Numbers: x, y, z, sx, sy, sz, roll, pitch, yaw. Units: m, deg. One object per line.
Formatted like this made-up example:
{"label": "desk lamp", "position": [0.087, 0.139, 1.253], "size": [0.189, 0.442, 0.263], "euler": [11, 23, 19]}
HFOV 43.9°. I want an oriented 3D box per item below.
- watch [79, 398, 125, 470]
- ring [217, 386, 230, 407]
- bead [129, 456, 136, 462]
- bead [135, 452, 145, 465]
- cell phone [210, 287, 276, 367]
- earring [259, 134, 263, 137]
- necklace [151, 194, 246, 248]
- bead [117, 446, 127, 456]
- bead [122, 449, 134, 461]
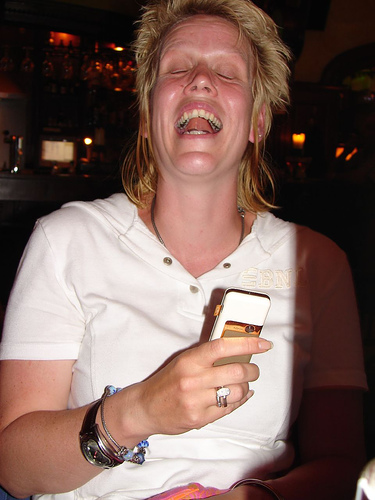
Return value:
{"label": "watch", "position": [-0.178, 0.365, 0.917], "size": [0.075, 0.112, 0.092], "euler": [-10, 31, -28]}
{"label": "ring", "position": [0.061, 0.254, 0.804], "size": [0.017, 0.044, 0.021], "euler": [20, 31, 24]}
{"label": "bead", "position": [-0.111, 0.424, 0.945], "size": [0.008, 0.010, 0.004], "euler": [3, 21, -26]}
{"label": "bead", "position": [-0.098, 0.430, 0.961], "size": [0.019, 0.010, 0.023], "euler": [-11, 70, -52]}
{"label": "cell phone", "position": [0.087, 0.157, 0.844], "size": [0.094, 0.166, 0.019], "euler": [10, 25, -5]}
{"label": "earring", "position": [0.233, -0.367, 1.490], "size": [0.005, 0.008, 0.020], "euler": [26, 32, 33]}
{"label": "necklace", "position": [0.042, -0.082, 1.318], "size": [0.292, 0.082, 0.280], "euler": [2, 26, -6]}
{"label": "bead", "position": [-0.128, 0.392, 0.906], "size": [0.014, 0.022, 0.009], "euler": [28, -3, -37]}
{"label": "bead", "position": [-0.118, 0.411, 0.929], "size": [0.022, 0.027, 0.011], "euler": [20, 14, -31]}
